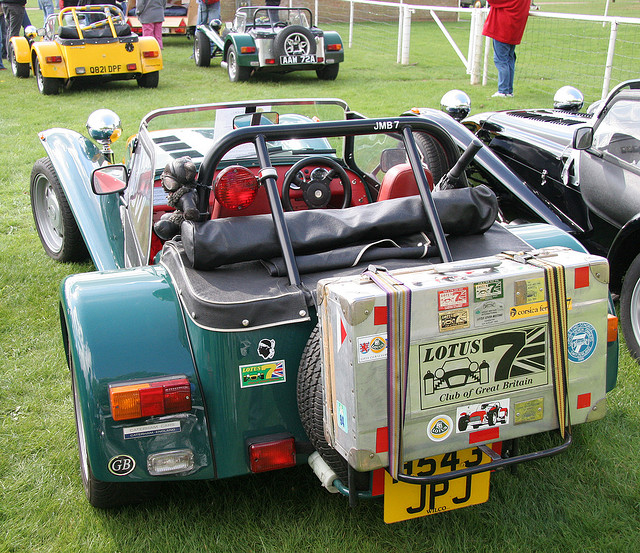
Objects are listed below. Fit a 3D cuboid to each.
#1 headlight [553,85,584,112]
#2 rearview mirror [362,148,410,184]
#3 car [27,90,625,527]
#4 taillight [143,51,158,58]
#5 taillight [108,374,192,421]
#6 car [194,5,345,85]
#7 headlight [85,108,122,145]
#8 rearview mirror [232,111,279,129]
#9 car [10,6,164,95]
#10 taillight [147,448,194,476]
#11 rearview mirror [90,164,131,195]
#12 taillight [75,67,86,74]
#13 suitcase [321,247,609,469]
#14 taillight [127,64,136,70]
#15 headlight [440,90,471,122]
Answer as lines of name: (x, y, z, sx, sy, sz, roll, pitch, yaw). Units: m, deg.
headlight: (2.589, -1.867, 6.309, 0.274, 0.305, 0.071, 4, 2, 15)
rearview mirror: (0.470, -0.815, 4.324, 0.339, 0.271, 0.089, 8, 28, 21)
car: (-0.242, -0.198, 3.776, 2.487, 1.662, 3.871, -9, 25, -19)
taillight: (-3.313, -4.438, 11.900, 0.283, 0.124, 0.040, -16, 28, -25)
taillight: (-0.644, 0.470, 2.306, 0.398, 0.194, 0.131, -6, 8, -14)
car: (-1.339, -5.441, 13.409, 1.996, 1.401, 3.213, -8, 32, -20)
headlight: (-1.633, -1.176, 4.608, 0.255, 0.302, 0.254, 20, 30, 35)
rearview mirror: (-0.378, -0.984, 3.714, 0.313, 0.100, 0.080, -16, 29, -24)
car: (-4.968, -4.512, 12.633, 2.024, 1.437, 3.025, -14, 37, -25)
taillight: (-0.581, 0.735, 2.357, 0.156, 0.098, 0.032, -3, 7, -10)
rearview mirror: (-1.244, -0.594, 3.638, 0.252, 0.189, 0.030, -11, -9, -27)
taillight: (-4.501, -3.958, 11.392, 0.130, 0.131, 0.032, -4, 8, -15)
suitcase: (0.557, 0.269, 2.277, 1.003, 0.687, 0.473, -9, 16, -16)
taillight: (-3.642, -4.130, 11.704, 0.124, 0.125, 0.034, -4, 6, -16)
headlight: (1.245, -1.553, 5.518, 0.238, 0.313, 0.445, 2, 27, 10)
